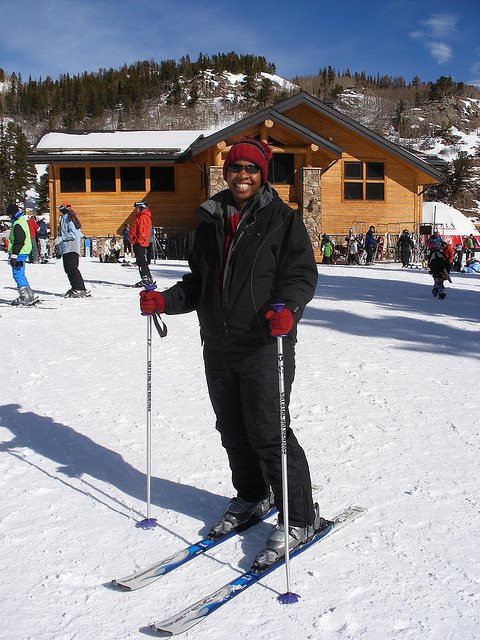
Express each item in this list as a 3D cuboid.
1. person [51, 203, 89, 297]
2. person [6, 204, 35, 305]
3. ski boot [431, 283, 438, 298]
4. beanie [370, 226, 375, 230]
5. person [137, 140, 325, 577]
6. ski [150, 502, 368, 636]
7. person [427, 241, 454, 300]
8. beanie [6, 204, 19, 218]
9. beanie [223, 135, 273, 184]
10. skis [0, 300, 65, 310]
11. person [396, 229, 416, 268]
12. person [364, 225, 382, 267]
[{"bbox_3d":[-3.221,-1.349,11.447,0.532,1.737,1.358,-3,12,-14],"label":"person"},{"bbox_3d":[-3.853,-1.174,10.427,0.407,1.699,1.019,-4,12,-21],"label":"person"},{"bbox_3d":[4.233,-0.647,12.878,0.094,0.284,0.329,4,12,17],"label":"ski boot"},{"bbox_3d":[4.990,-3.510,22.454,0.149,0.162,0.154,4,19,20],"label":"beanie"},{"bbox_3d":[0.037,0.143,2.875,0.798,1.991,0.868,0,11,0],"label":"person"},{"bbox_3d":[0.158,1.049,2.716,0.110,0.220,1.371,10,15,41],"label":"ski"},{"bbox_3d":[4.635,-1.148,13.746,0.531,1.139,2.668,4,12,18],"label":"person"},{"bbox_3d":[-3.853,-1.862,10.104,0.195,0.223,0.360,-4,12,-20],"label":"beanie"},{"bbox_3d":[0.038,-0.808,2.881,0.198,0.227,0.266,10,-4,19],"label":"beanie"},{"bbox_3d":[-3.583,-0.263,10.229,0.857,0.032,0.143,4,38,-11],"label":"skis"},{"bbox_3d":[6.248,-2.671,22.353,0.452,1.270,1.140,3,12,15],"label":"person"},{"bbox_3d":[4.936,-2.866,22.724,0.416,1.456,1.002,4,12,20],"label":"person"}]
